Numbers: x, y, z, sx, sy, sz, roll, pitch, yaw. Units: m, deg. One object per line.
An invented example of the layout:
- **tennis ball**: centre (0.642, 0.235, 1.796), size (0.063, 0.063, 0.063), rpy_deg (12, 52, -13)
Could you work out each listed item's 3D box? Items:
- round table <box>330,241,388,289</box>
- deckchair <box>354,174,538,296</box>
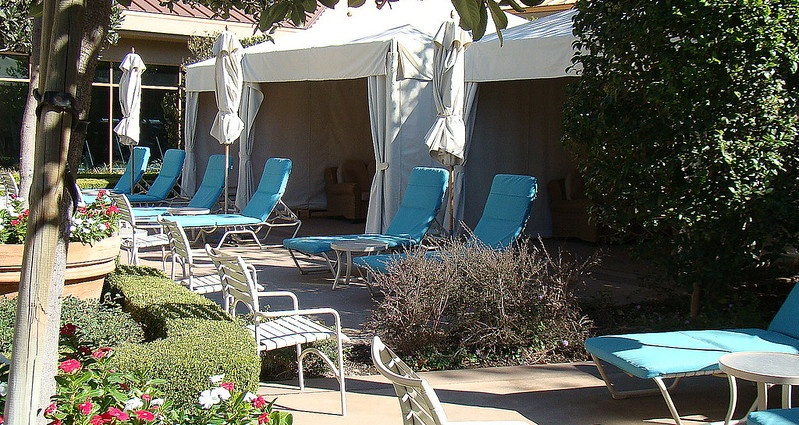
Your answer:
- **round table**: centre (-0.591, 0.672, 7.862), size (0.766, 0.502, 0.717), rpy_deg (1, 10, 0)
- **deckchair**: centre (0.237, 0.042, 7.622), size (3.310, 1.836, 1.164), rpy_deg (-1, 6, -28)
